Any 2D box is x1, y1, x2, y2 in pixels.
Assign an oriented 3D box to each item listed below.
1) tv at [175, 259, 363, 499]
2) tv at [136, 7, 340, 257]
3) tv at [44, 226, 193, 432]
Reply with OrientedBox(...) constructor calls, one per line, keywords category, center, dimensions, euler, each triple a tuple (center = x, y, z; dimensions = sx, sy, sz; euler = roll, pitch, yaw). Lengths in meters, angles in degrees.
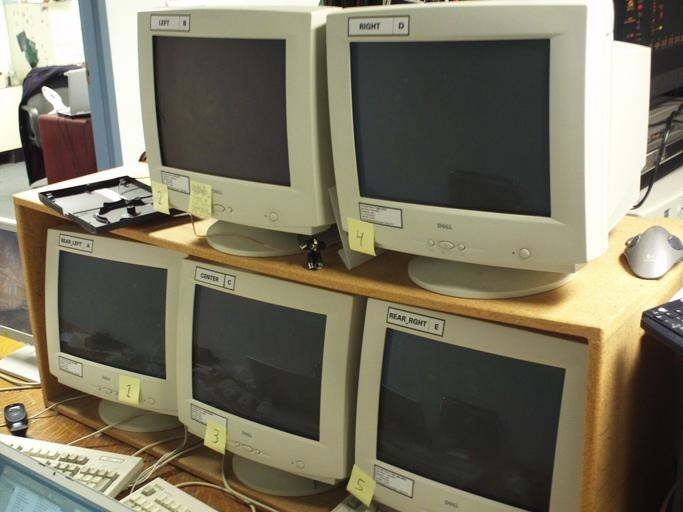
OrientedBox(category="tv", center=(-0.169, 0.290, 1.501), dimensions=(0.479, 0.548, 0.293), euler=(9, 12, 27))
OrientedBox(category="tv", center=(-0.226, -0.298, 1.380), dimensions=(0.459, 0.490, 0.265), euler=(12, 21, 29))
OrientedBox(category="tv", center=(-0.641, 0.193, 1.746), dimensions=(0.478, 0.572, 0.301), euler=(9, 12, 24))
